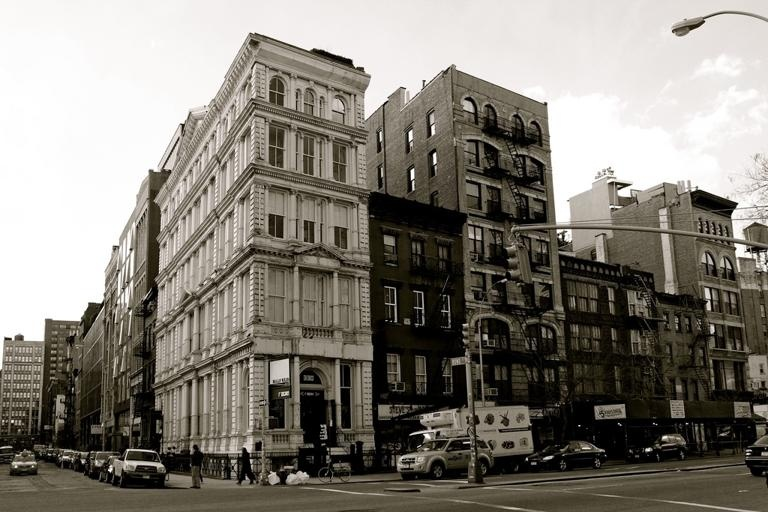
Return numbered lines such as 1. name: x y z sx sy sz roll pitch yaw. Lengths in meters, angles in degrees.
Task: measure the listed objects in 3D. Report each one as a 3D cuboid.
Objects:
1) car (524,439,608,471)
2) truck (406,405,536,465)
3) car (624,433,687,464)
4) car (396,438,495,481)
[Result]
1. car: 13.901 15.139 70.169 5.836 2.099 2.337 5 -10 -30
2. truck: 6.754 13.003 69.454 8.024 4.244 4.327 5 -21 -17
3. car: 22.924 16.037 77.639 5.370 2.459 1.515 7 -23 -25
4. car: 4.323 14.499 66.368 6.426 2.988 1.872 3 -21 -15
